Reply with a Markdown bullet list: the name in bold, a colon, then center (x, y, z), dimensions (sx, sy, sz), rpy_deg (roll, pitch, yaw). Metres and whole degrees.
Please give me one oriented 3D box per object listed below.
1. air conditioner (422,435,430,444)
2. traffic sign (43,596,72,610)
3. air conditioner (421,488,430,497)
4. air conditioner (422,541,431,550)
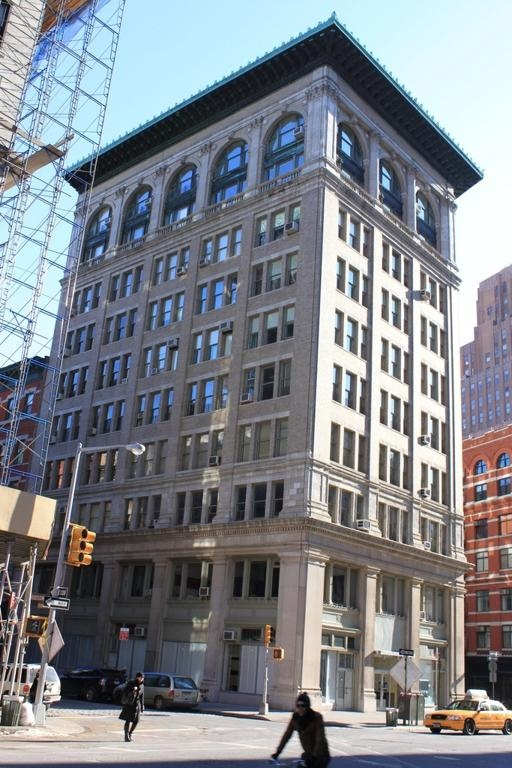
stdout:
- **air conditioner**: center (11.818, 3.898, 46.652), dimensions (0.541, 0.704, 1.024), rpy_deg (-5, -10, 21)
- **traffic sign**: center (-5.855, 6.431, 19.634), dimensions (0.483, 0.383, 1.372), rpy_deg (7, -23, -6)
- **air conditioner**: center (11.505, 7.426, 45.586), dimensions (0.563, 0.714, 1.078), rpy_deg (-5, -14, 25)
- **air conditioner**: center (11.292, 10.727, 44.512), dimensions (0.636, 0.564, 0.345), rpy_deg (24, -31, -39)
